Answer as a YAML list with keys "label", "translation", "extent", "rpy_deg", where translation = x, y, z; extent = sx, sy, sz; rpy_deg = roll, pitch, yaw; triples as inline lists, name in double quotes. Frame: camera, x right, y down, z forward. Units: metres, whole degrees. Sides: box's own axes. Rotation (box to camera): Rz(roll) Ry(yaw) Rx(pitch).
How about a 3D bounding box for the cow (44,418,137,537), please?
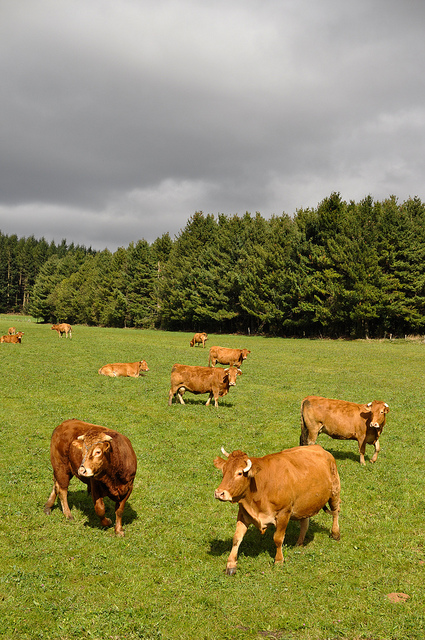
- label: "cow"
  translation: [-2.125, 2.689, 10.424]
  extent: [1.395, 1.798, 1.253]
  rpy_deg: [2, 2, 34]

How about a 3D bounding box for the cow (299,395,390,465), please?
- label: "cow"
  translation: [3.250, 2.669, 14.955]
  extent: [2.247, 1.530, 0.860]
  rpy_deg: [-1, -2, 34]

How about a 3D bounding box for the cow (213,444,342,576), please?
- label: "cow"
  translation: [1.130, 2.932, 9.947]
  extent: [3.004, 1.846, 0.961]
  rpy_deg: [6, -3, -43]

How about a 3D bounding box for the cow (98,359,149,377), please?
- label: "cow"
  translation: [-3.835, 2.181, 27.601]
  extent: [1.335, 0.602, 2.730]
  rpy_deg: [3, 2, 36]

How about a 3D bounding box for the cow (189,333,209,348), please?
- label: "cow"
  translation: [-1.055, 1.466, 46.390]
  extent: [1.152, 0.998, 3.360]
  rpy_deg: [1, 2, -4]

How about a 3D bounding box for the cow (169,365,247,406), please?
- label: "cow"
  translation: [-0.382, 2.204, 21.026]
  extent: [2.106, 1.531, 2.718]
  rpy_deg: [1, 2, -5]
